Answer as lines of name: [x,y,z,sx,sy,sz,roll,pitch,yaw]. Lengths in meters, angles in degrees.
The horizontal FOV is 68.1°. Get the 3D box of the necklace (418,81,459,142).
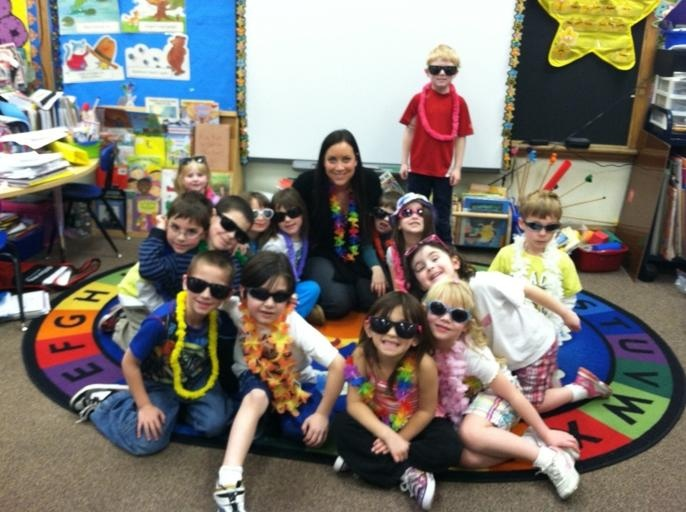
necklace: [0.747,-1.051,3.770,0.294,0.429,0.088,0,6,2]

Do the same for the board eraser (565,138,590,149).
board eraser: [2.003,-0.976,4.357,0.203,0.092,0.090,1,44,8]

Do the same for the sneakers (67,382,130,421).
sneakers: [-1.170,0.675,2.438,0.255,0.082,0.153,-6,11,-21]

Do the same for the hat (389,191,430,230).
hat: [0.375,-0.308,3.075,0.244,0.232,0.073,-7,-11,-4]

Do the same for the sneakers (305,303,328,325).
sneakers: [-0.171,0.366,3.232,0.096,0.045,0.129,1,16,7]

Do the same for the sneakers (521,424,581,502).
sneakers: [0.852,0.856,2.186,0.142,0.111,0.325,33,18,-25]

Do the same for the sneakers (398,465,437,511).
sneakers: [0.309,0.933,2.063,0.155,0.111,0.154,2,18,0]

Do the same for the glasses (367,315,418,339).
glasses: [0.206,0.294,2.071,0.219,0.094,0.073,4,19,4]

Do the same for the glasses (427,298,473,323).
glasses: [0.444,0.239,2.160,0.193,0.110,0.088,5,19,8]

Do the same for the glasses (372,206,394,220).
glasses: [0.254,-0.281,3.327,0.095,0.041,0.096,10,-1,-10]

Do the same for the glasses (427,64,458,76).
glasses: [0.722,-1.368,3.732,0.207,0.075,0.063,4,19,5]

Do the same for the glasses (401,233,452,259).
glasses: [0.474,-0.045,2.679,0.163,0.169,0.051,-16,29,36]

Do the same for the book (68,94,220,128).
book: [-1.636,-1.261,4.472,1.104,0.276,0.164,5,19,8]
